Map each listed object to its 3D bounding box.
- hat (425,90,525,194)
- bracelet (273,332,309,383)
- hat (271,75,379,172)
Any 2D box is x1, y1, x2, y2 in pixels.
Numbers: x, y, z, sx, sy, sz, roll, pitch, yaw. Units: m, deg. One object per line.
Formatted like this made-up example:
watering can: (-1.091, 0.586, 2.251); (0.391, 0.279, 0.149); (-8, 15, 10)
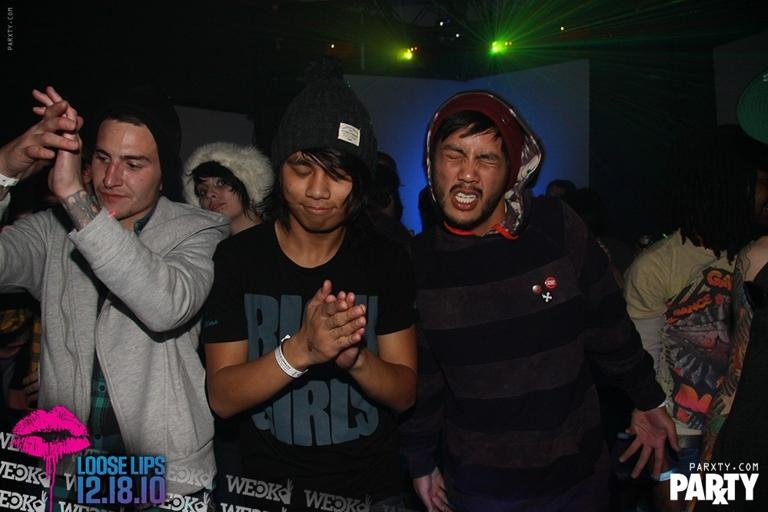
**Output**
hat: (0.595, -0.819, 4.166); (0.844, 0.796, 1.085); (0, 0, 17)
bracelet: (-0.576, 0.607, 3.280); (0.205, 0.254, 0.095); (10, -38, -27)
hat: (-0.450, -0.880, 3.842); (0.684, 0.551, 0.647); (2, 0, -11)
